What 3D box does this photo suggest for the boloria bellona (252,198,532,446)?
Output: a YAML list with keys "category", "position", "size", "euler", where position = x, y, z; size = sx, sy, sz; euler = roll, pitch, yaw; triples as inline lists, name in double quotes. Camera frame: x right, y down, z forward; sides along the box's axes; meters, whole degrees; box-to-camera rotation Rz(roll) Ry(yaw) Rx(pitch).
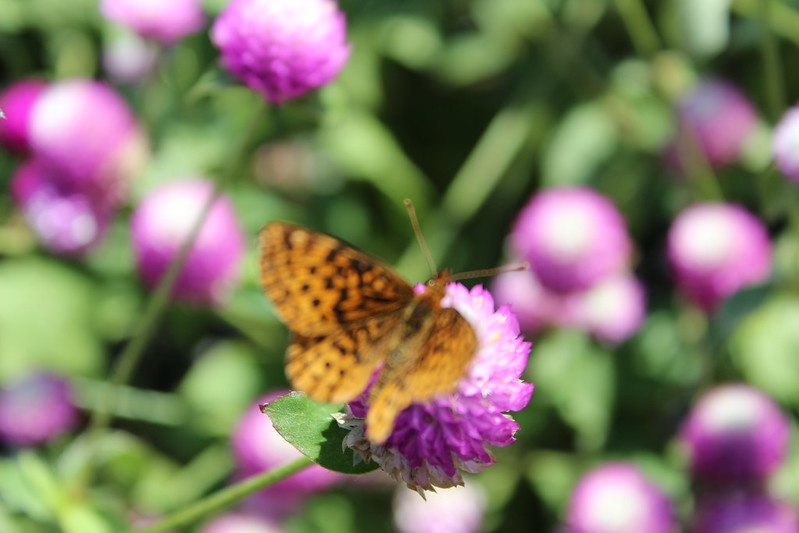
- category: "boloria bellona"
  position: [-0.064, 0.101, 1.462]
  size: [0.372, 0.129, 0.363]
  euler: [31, 86, 10]
